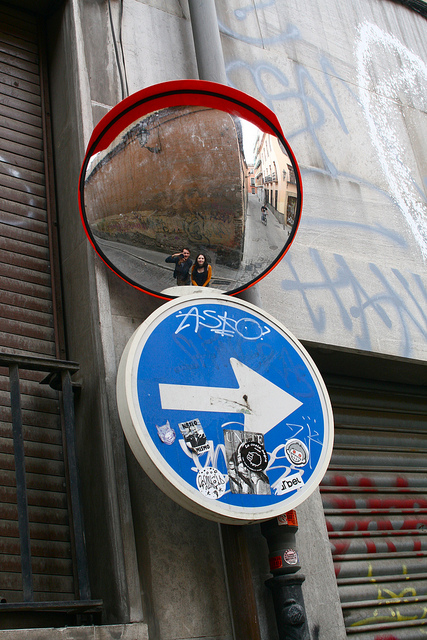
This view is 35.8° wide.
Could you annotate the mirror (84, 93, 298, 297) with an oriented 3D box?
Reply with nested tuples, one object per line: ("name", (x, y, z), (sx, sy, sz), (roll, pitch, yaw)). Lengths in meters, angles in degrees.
("mirror", (-0.189, -0.844, 4.457), (1.474, 0.155, 1.360), (-5, 95, -11))
